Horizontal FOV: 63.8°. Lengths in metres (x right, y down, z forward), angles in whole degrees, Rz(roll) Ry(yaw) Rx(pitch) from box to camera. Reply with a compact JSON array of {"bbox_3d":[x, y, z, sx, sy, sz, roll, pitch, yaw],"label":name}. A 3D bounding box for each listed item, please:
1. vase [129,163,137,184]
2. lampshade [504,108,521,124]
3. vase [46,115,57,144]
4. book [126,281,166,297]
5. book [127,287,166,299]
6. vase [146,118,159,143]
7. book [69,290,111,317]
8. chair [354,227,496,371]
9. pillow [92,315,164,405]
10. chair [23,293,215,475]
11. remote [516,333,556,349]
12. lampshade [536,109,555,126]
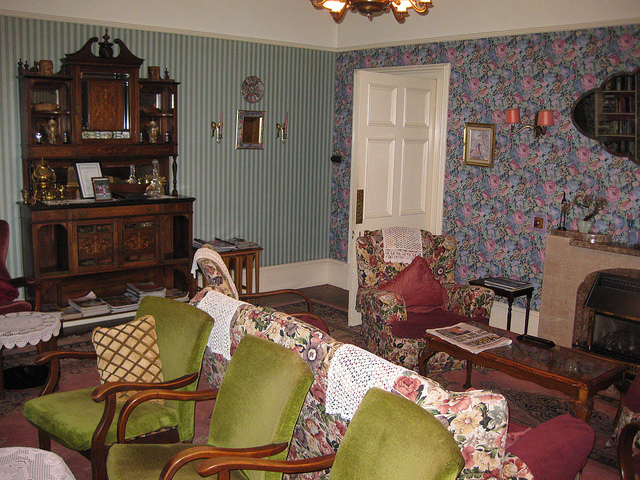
[{"bbox_3d":[-2.112,-0.753,5.812,0.088,0.233,0.047,-8,12,-38],"label":"vase"},{"bbox_3d":[2.009,-1.310,5.388,0.152,0.157,0.148,0,2,0],"label":"lampshade"},{"bbox_3d":[-2.707,-1.099,5.186,0.089,0.249,0.101,-4,10,-23],"label":"vase"},{"bbox_3d":[-1.916,0.533,5.603,0.248,0.062,0.244,-3,10,-42],"label":"book"},{"bbox_3d":[-1.773,0.535,5.203,0.254,0.062,0.250,-4,10,-42],"label":"book"},{"bbox_3d":[-1.866,-1.233,5.764,0.130,0.272,0.141,-4,10,-23],"label":"vase"},{"bbox_3d":[-2.401,0.661,5.342,0.246,0.078,0.244,-10,18,-41],"label":"book"},{"bbox_3d":[0.905,0.544,4.699,1.196,1.231,1.236,2,4,29],"label":"chair"},{"bbox_3d":[-1.172,0.691,3.152,0.368,0.359,0.318,-5,11,-27],"label":"pillow"},{"bbox_3d":[-1.261,0.919,3.206,0.854,1.108,0.987,10,2,32],"label":"chair"},{"bbox_3d":[1.633,0.762,3.888,0.269,0.047,0.145,6,12,30],"label":"remote"},{"bbox_3d":[2.248,-1.219,5.131,0.143,0.149,0.152,3,8,27],"label":"lampshade"}]
